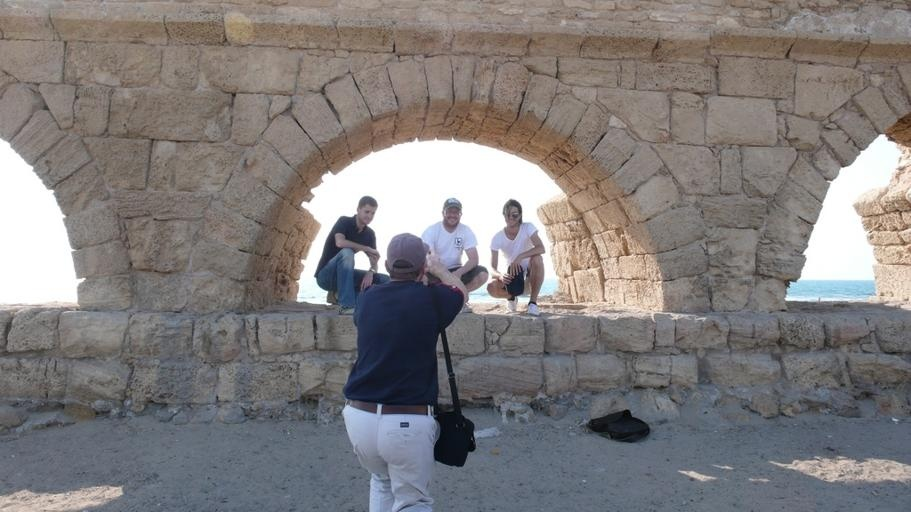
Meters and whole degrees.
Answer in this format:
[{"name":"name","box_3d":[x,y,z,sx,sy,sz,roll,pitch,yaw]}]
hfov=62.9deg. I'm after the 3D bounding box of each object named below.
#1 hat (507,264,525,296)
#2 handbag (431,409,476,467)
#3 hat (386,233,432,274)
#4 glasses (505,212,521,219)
[{"name":"hat","box_3d":[0.827,0.351,10.005,0.257,0.375,0.175,4,0,-13]},{"name":"handbag","box_3d":[-0.015,1.756,7.211,0.583,0.502,0.506,3,-3,-10]},{"name":"hat","box_3d":[-0.449,-0.009,7.439,0.476,0.571,0.317,0,-41,3]},{"name":"glasses","box_3d":[0.783,-0.529,9.917,0.171,0.067,0.094,0,-8,-3]}]
